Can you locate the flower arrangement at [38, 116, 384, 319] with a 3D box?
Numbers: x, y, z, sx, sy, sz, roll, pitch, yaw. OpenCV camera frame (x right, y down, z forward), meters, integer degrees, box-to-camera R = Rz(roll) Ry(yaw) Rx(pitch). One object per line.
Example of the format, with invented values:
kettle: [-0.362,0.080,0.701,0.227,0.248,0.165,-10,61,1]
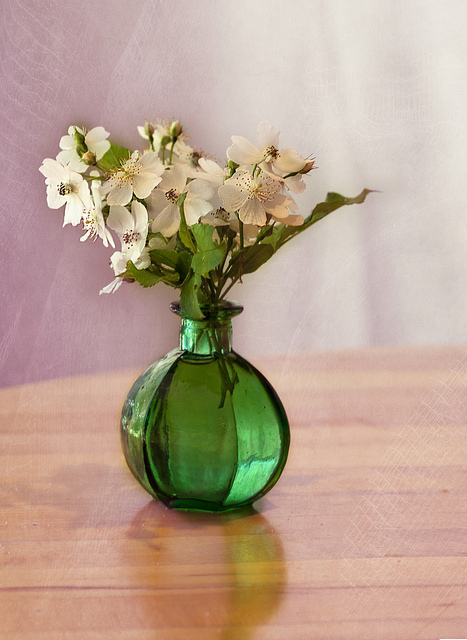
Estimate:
flower arrangement: [-0.025,-0.094,0.688,0.271,0.142,0.239,3,8,16]

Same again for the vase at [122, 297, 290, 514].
vase: [-0.034,0.081,0.691,0.173,0.171,0.157,1,3,26]
